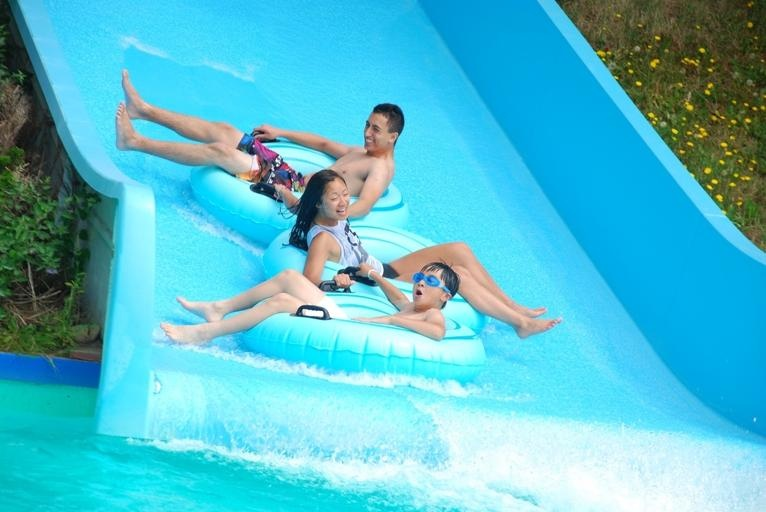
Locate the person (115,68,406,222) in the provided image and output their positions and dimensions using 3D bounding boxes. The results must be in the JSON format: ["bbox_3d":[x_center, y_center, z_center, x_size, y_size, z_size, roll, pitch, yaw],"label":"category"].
[{"bbox_3d":[-0.994,-0.901,4.975,2.314,1.027,1.356,11,5,-8],"label":"person"}]

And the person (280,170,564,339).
[{"bbox_3d":[0.333,-0.004,4.478,2.008,0.992,0.997,7,9,-2],"label":"person"}]

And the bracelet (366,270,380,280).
[{"bbox_3d":[-0.069,0.134,4.200,0.082,0.030,0.069,20,2,15],"label":"bracelet"}]

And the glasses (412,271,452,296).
[{"bbox_3d":[0.319,0.174,4.061,0.167,0.050,0.144,28,-5,-27],"label":"glasses"}]

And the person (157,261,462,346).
[{"bbox_3d":[-0.210,0.347,4.019,1.353,0.472,0.723,-2,15,-8],"label":"person"}]

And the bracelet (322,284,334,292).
[{"bbox_3d":[-0.366,0.214,4.050,0.061,0.023,0.044,-1,47,-35],"label":"bracelet"}]
